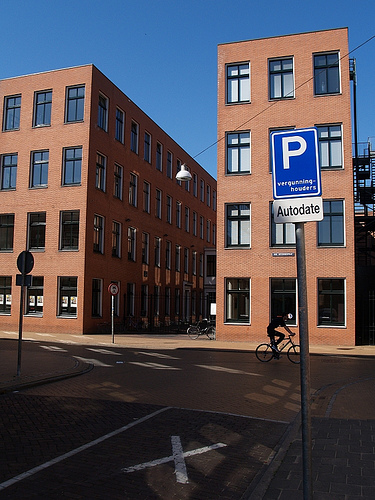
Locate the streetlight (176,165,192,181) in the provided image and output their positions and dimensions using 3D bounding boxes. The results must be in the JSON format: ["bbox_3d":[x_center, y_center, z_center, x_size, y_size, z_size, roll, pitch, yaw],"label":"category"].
[{"bbox_3d":[-0.145,-3.068,19.623,0.702,0.751,0.715,-1,-6,1],"label":"streetlight"}]

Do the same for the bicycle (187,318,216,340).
[{"bbox_3d":[0.712,4.196,25.798,1.731,1.142,0.907,-2,-5,2],"label":"bicycle"}]

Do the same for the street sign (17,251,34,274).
[{"bbox_3d":[-3.518,0.265,10.663,0.310,0.531,0.485,4,-10,-22],"label":"street sign"}]

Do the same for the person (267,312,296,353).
[{"bbox_3d":[2.990,2.439,15.080,1.023,1.451,0.765,1,-8,6],"label":"person"}]
